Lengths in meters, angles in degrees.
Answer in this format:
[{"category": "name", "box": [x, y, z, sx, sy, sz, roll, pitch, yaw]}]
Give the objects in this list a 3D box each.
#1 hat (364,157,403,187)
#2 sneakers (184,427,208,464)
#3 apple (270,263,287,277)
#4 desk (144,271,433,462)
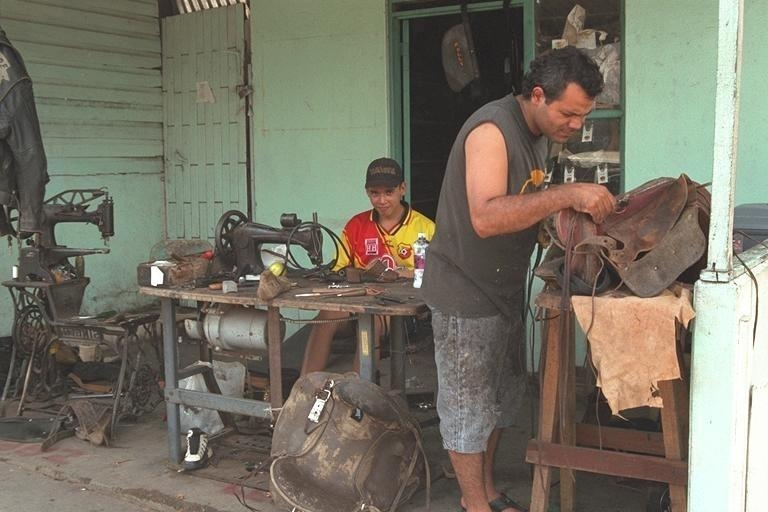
[{"category": "hat", "box": [-0.007, -0.636, 5.480, 0.180, 0.157, 0.265, 0, 5, 10]}, {"category": "sneakers", "box": [-1.342, 1.351, 5.212, 0.101, 0.136, 0.287, 3, 8, 9]}, {"category": "apple", "box": [-0.748, 0.090, 5.212, 0.108, 0.094, 0.092, 3, -7, -38]}, {"category": "desk", "box": [-0.668, 0.836, 5.099, 2.013, 1.278, 0.572, 0, 4, 19]}]
